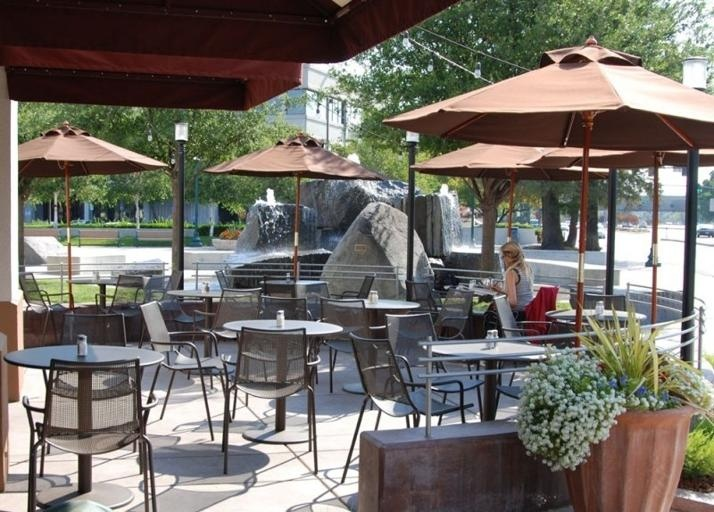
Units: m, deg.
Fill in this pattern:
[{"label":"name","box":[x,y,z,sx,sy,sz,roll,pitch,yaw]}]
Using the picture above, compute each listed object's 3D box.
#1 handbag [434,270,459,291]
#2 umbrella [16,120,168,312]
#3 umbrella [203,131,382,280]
[{"label":"handbag","box":[2.041,0.531,20.646,0.350,0.571,0.495,7,12,10]},{"label":"umbrella","box":[-3.894,-0.760,13.649,2.489,2.676,2.689,0,3,-15]},{"label":"umbrella","box":[-0.876,-0.728,13.589,2.353,2.272,1.460,-1,3,1]}]
